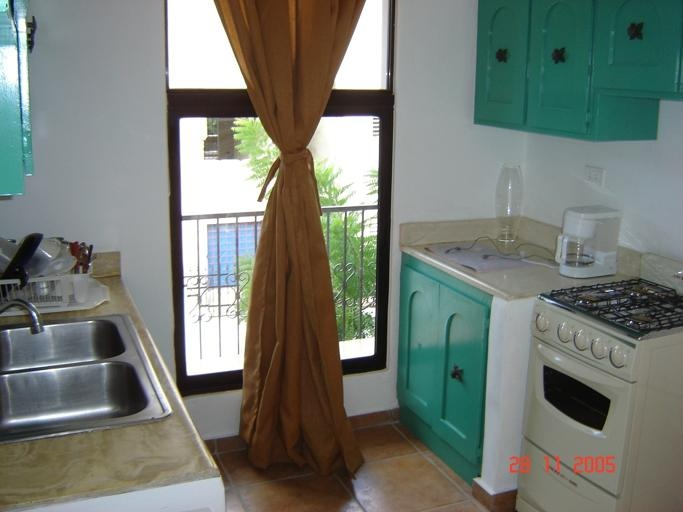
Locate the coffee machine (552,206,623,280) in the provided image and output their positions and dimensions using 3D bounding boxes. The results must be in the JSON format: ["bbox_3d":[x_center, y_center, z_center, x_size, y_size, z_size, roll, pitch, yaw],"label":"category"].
[{"bbox_3d":[1.165,-0.079,2.730,0.328,0.406,0.282,-2,11,-10],"label":"coffee machine"}]

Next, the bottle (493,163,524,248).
[{"bbox_3d":[0.963,-0.286,3.055,0.151,0.473,0.385,1,12,17],"label":"bottle"}]
